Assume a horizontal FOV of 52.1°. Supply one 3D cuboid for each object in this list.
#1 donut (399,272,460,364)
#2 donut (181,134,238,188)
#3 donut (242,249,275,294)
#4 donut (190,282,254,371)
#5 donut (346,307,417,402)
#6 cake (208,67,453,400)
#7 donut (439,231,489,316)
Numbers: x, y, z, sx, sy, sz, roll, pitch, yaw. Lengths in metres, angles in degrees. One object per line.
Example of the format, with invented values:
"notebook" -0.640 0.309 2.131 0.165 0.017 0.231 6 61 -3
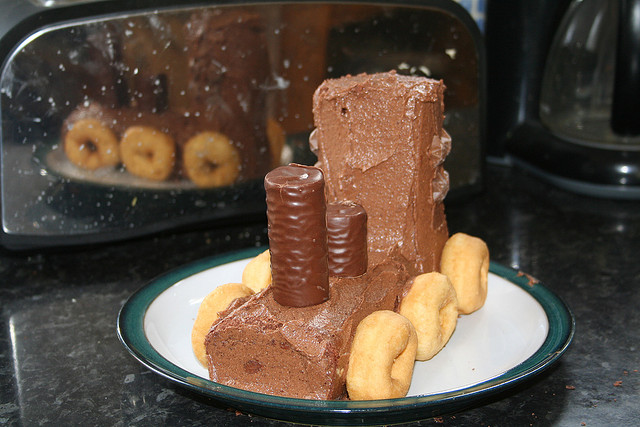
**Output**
"donut" 0.130 0.126 0.821 0.034 0.101 0.095 5 5 22
"donut" -0.178 -0.087 1.072 0.078 0.084 0.024 -21 17 -31
"donut" -0.081 0.079 0.865 0.026 0.048 0.036 29 -4 -24
"donut" -0.124 0.139 0.819 0.016 0.100 0.079 4 14 35
"donut" 0.065 0.163 0.765 0.029 0.095 0.094 11 21 28
"cake" 0.025 0.004 0.836 0.199 0.296 0.400 10 24 28
"donut" 0.201 0.074 0.890 0.029 0.093 0.094 -2 25 35
